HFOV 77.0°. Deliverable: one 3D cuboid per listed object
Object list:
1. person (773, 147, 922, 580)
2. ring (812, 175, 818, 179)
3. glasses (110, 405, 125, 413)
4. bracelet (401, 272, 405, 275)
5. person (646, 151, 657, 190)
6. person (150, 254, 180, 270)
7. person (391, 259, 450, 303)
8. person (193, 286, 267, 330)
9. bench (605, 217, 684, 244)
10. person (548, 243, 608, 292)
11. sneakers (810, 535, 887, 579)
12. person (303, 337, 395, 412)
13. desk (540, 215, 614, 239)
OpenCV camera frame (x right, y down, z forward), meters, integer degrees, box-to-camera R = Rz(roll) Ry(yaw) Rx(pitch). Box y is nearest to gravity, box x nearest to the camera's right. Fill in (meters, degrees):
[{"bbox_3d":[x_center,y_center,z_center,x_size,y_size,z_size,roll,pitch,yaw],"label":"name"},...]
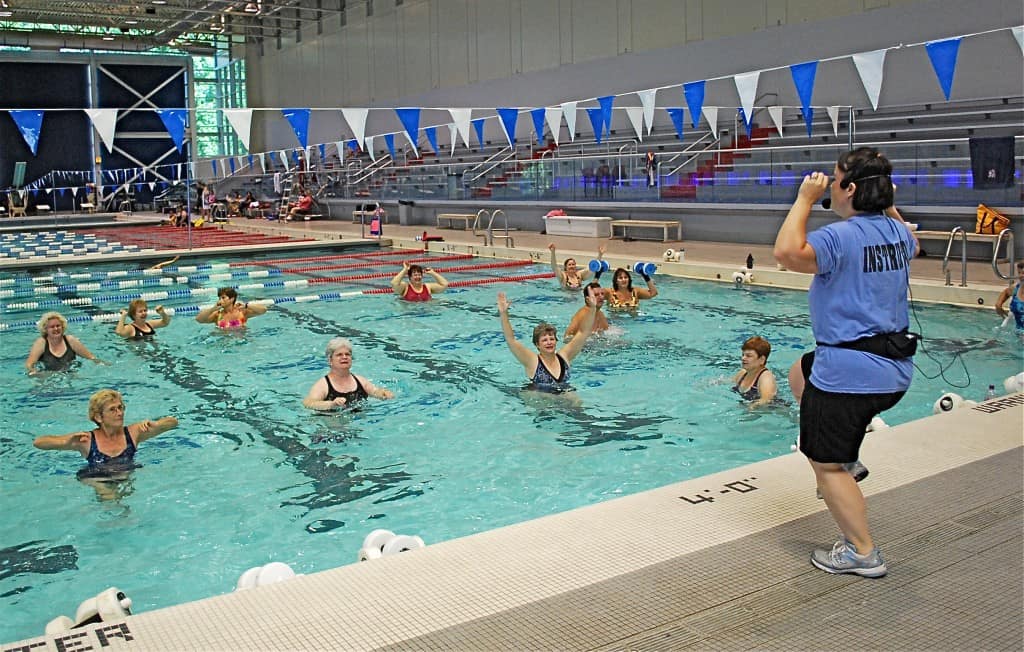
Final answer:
[{"bbox_3d":[1.453,0.131,2.742,0.456,1.766,0.649,3,15,40],"label":"person"},{"bbox_3d":[1.249,-0.616,2.633,0.018,0.006,0.017,-22,22,9],"label":"ring"},{"bbox_3d":[-2.989,0.611,4.766,0.121,0.055,0.150,-1,-3,-38],"label":"glasses"},{"bbox_3d":[-1.763,-0.827,10.007,0.035,0.041,0.138,11,8,-7],"label":"bracelet"},{"bbox_3d":[3.461,-3.892,16.018,0.138,0.865,0.429,-14,13,-32],"label":"person"},{"bbox_3d":[-8.187,-1.469,14.849,0.385,0.267,0.918,29,-18,-36],"label":"person"},{"bbox_3d":[-1.574,-0.811,10.926,0.793,0.648,1.883,-5,9,2],"label":"person"},{"bbox_3d":[-4.321,-0.261,9.618,0.669,0.907,0.251,-20,-31,-24],"label":"person"},{"bbox_3d":[3.304,-2.410,16.031,0.987,0.599,2.105,-10,11,-28],"label":"bench"},{"bbox_3d":[1.043,-0.983,10.861,0.991,0.677,1.028,-2,5,-25],"label":"person"},{"bbox_3d":[1.414,0.977,2.733,0.333,0.130,0.119,1,6,20],"label":"sneakers"},{"bbox_3d":[-1.570,0.555,6.024,0.639,0.766,0.908,9,8,43],"label":"person"},{"bbox_3d":[1.753,-2.670,17.211,0.763,0.651,1.969,-12,12,-34],"label":"desk"}]
